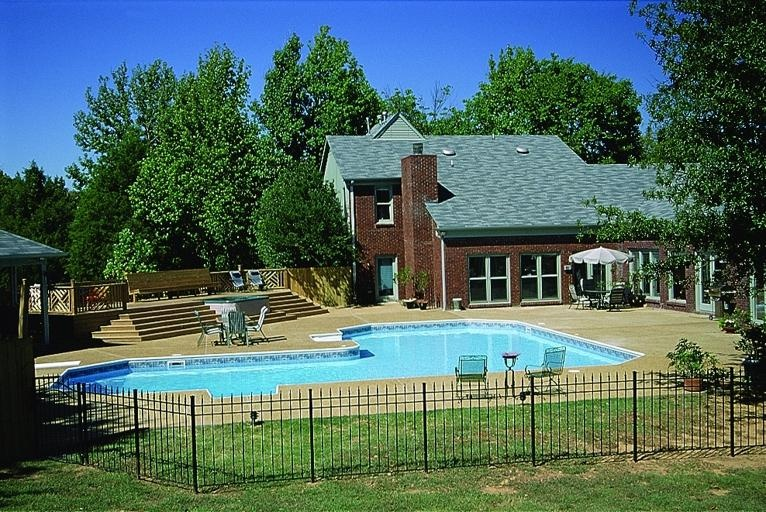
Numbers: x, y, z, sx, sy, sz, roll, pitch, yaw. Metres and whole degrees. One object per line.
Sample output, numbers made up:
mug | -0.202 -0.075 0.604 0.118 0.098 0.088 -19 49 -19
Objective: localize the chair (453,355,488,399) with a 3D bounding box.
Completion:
chair | 2.716 3.699 23.393 1.157 1.677 1.196 0 1 2

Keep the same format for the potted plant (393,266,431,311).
potted plant | 1.681 1.679 41.765 1.418 1.965 2.898 -8 12 -32

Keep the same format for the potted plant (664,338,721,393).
potted plant | 9.157 3.448 22.435 1.527 2.008 1.811 -5 -5 31

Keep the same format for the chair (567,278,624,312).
chair | 11.074 1.992 38.241 1.238 1.135 2.247 1 -5 -18
